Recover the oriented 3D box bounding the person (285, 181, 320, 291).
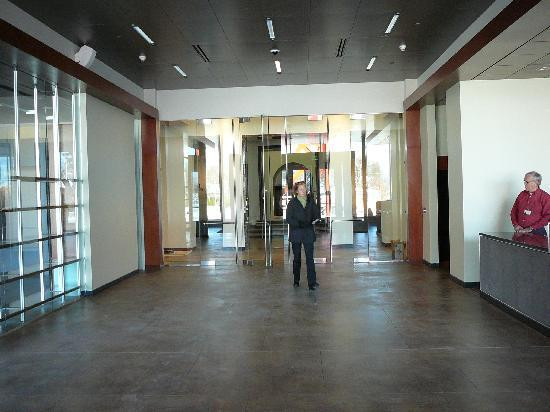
[{"bbox_3d":[0.580,0.571,8.274,0.644,2.164,0.513,0,3,18],"label":"person"}]

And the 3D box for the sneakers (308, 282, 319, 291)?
[{"bbox_3d":[0.784,1.619,8.115,0.238,0.184,0.087,-6,1,7],"label":"sneakers"}]
